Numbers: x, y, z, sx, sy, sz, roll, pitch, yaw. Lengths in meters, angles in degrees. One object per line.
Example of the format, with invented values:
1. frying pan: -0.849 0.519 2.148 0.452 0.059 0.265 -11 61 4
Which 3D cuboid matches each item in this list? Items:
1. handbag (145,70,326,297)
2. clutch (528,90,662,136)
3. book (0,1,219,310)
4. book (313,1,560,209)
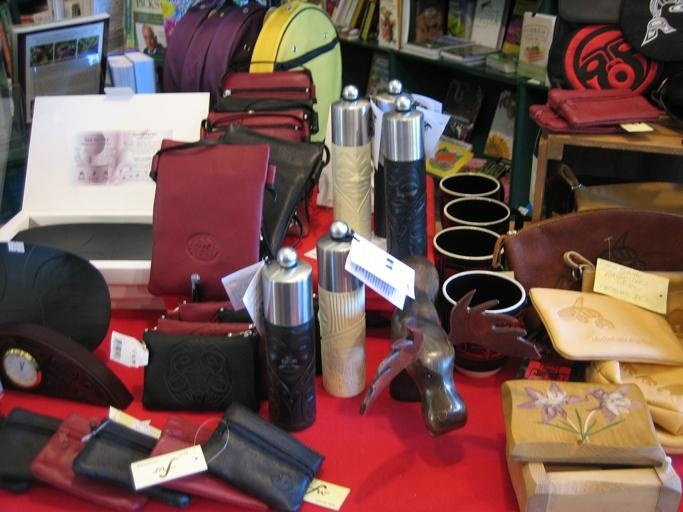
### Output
1. handbag: -0.301 -0.138 1.382 0.390 0.460 0.155 1 -5 7
2. clutch: 0.714 -0.414 1.597 0.227 0.067 0.199 -5 27 -10
3. book: -0.737 -0.218 1.913 0.576 0.450 0.661 1 68 -1
4. book: 0.436 -0.648 2.297 0.999 1.040 0.303 21 35 34
